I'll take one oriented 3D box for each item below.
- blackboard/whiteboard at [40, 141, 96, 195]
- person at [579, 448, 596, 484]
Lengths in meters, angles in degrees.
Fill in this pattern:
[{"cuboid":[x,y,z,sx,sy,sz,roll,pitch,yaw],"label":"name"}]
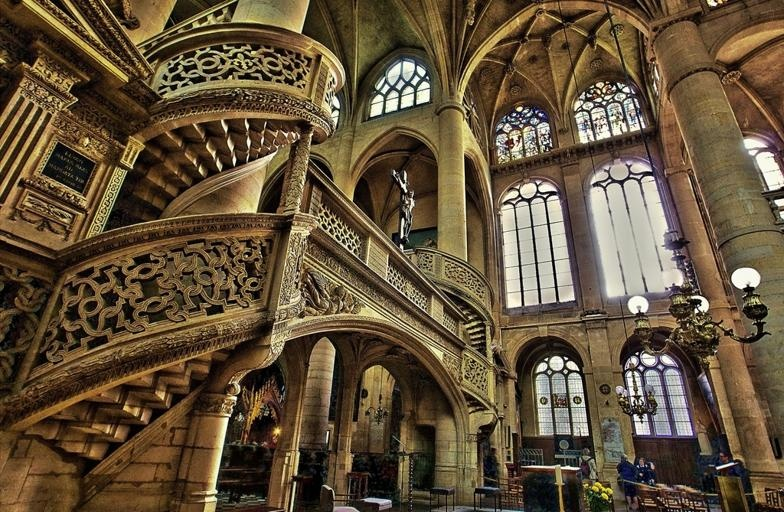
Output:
[{"cuboid":[-3.879,-1.052,5.271,0.074,0.604,0.562,-15,-35,37],"label":"blackboard/whiteboard"},{"cuboid":[5.996,6.571,13.603,0.512,1.112,0.376,-5,-1,34],"label":"person"}]
